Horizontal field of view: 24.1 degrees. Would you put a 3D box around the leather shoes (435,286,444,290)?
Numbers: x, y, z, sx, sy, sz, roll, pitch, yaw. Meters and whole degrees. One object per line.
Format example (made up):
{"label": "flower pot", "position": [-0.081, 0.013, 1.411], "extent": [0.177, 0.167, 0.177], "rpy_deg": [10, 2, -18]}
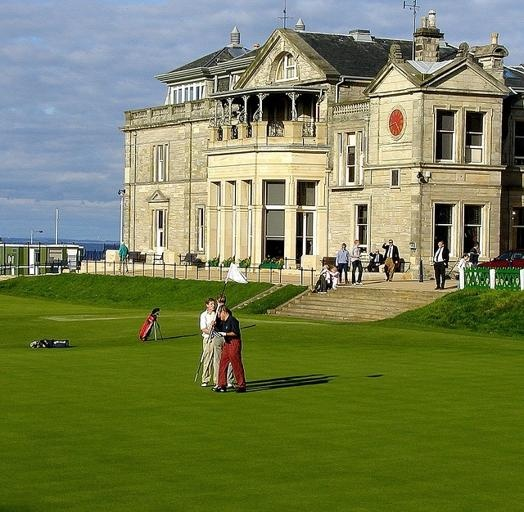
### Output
{"label": "leather shoes", "position": [6.089, 1.128, 42.295], "extent": [0.284, 0.095, 0.519], "rpy_deg": [-1, -2, 9]}

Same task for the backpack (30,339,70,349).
{"label": "backpack", "position": [-5.760, 2.394, 33.161], "extent": [1.129, 0.214, 0.876], "rpy_deg": [-1, -2, 9]}

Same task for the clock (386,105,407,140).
{"label": "clock", "position": [5.522, -5.522, 50.484], "extent": [0.167, 1.524, 1.439], "rpy_deg": [3, 1, -23]}

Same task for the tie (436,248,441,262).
{"label": "tie", "position": [6.040, -0.018, 42.229], "extent": [0.085, 0.348, 0.238], "rpy_deg": [5, 7, 10]}

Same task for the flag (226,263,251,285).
{"label": "flag", "position": [-0.755, 0.611, 40.155], "extent": [0.615, 0.923, 0.879], "rpy_deg": [3, -5, -22]}

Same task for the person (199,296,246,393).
{"label": "person", "position": [-0.803, 1.956, 25.983], "extent": [0.760, 1.860, 1.585], "rpy_deg": [0, -2, -10]}
